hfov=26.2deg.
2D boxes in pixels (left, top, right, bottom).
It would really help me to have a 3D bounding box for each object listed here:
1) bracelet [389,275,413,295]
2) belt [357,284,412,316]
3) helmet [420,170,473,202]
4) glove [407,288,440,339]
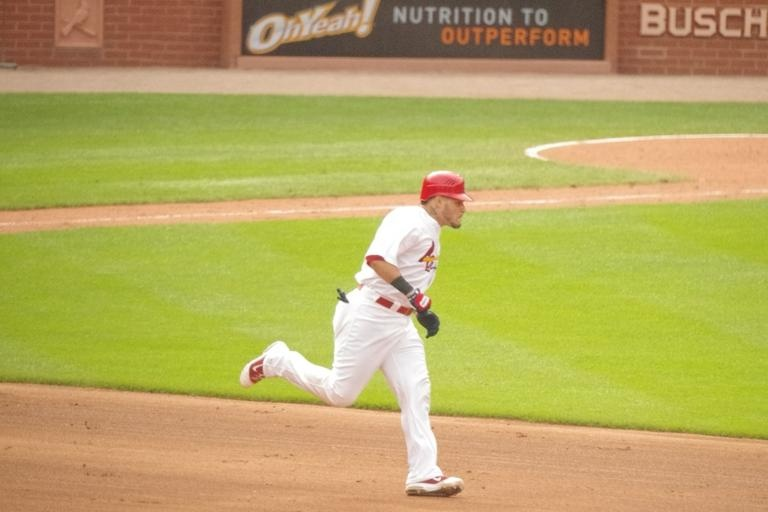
[{"bbox_3d":[0.220,0.353,20.664,0.270,0.230,0.120,3,7,-1],"label":"bracelet"},{"bbox_3d":[0.024,0.579,20.856,0.448,0.091,0.394,22,-3,26],"label":"belt"},{"bbox_3d":[0.764,-0.909,20.988,0.587,0.250,0.374,1,4,2],"label":"helmet"},{"bbox_3d":[0.462,0.718,20.787,0.394,0.590,0.251,-41,15,-30],"label":"glove"}]
